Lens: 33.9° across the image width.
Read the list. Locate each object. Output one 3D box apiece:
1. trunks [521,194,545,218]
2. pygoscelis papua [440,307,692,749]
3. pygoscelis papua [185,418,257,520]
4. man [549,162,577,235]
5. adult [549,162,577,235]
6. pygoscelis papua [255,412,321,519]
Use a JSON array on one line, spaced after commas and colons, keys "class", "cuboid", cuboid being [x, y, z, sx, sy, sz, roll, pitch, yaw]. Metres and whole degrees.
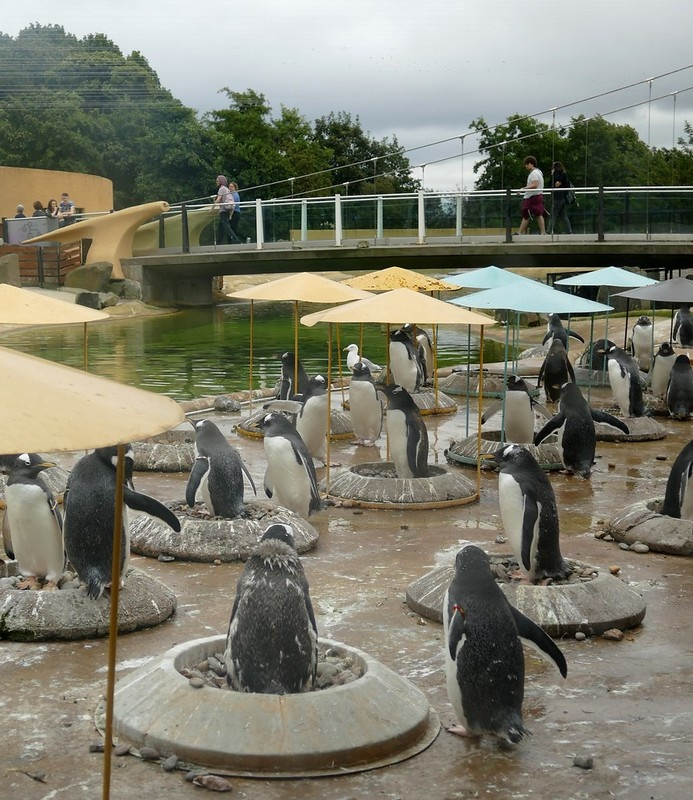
[{"class": "trunks", "cuboid": [4.303, -4.402, 25.733, 0.609, 0.514, 0.323, 7, 40, 21]}, {"class": "pygoscelis papua", "cuboid": [2.743, 0.366, 11.173, 2.157, 2.818, 2.577, -1, 4, -19]}, {"class": "pygoscelis papua", "cuboid": [-0.967, 0.498, 8.354, 0.549, 0.706, 0.480, 0, 13, -14]}, {"class": "man", "cuboid": [4.960, -4.553, 25.516, 0.558, 1.570, 1.850, -1, 6, 11]}, {"class": "adult", "cuboid": [4.961, -4.553, 25.516, 0.558, 1.570, 1.848, -1, 6, 11]}, {"class": "pygoscelis papua", "cuboid": [-0.439, 0.506, 8.821, 0.362, 0.875, 0.535, -2, 6, 2]}]
